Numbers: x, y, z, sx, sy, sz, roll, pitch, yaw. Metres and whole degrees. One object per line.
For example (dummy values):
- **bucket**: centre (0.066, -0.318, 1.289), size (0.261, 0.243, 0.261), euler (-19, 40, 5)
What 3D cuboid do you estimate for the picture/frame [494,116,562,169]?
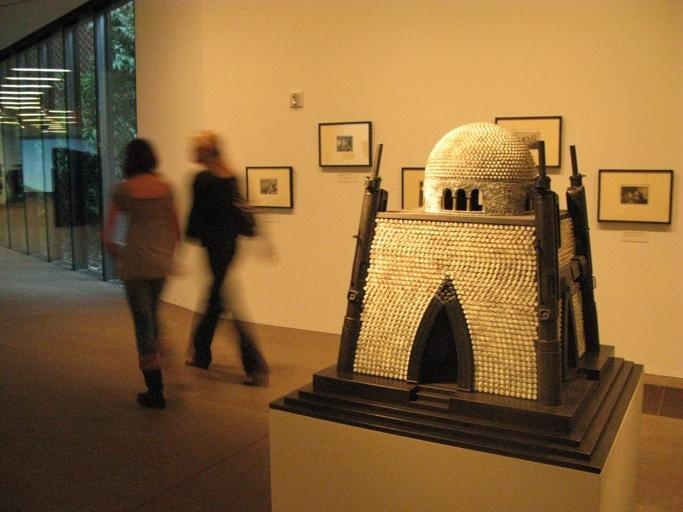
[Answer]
- **picture/frame**: centre (1.311, -0.789, 4.126), size (0.468, 0.364, 0.162), euler (4, 11, 12)

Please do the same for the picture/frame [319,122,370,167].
- **picture/frame**: centre (0.013, -0.785, 4.148), size (0.385, 0.281, 0.029), euler (1, 2, 29)

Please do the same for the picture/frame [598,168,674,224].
- **picture/frame**: centre (2.009, -0.414, 4.009), size (0.383, 0.311, 0.031), euler (2, 10, 17)
